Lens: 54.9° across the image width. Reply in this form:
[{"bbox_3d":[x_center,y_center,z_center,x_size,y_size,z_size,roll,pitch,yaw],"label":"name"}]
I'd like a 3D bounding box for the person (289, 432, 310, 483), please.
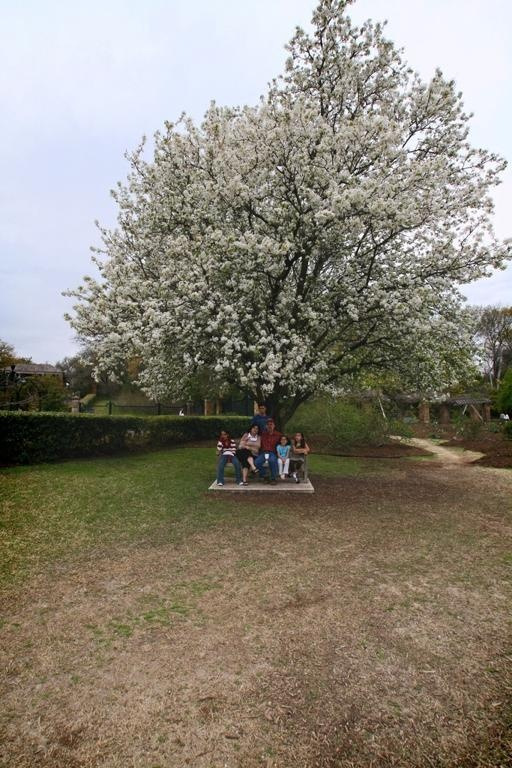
[{"bbox_3d":[0.971,1.695,11.547,0.432,1.135,1.478,-1,-3,4],"label":"person"}]

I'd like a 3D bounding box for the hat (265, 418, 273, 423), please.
[{"bbox_3d":[0.299,0.821,10.934,0.090,0.116,0.114,-1,-5,2],"label":"hat"}]

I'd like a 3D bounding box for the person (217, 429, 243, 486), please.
[{"bbox_3d":[-0.613,1.669,11.206,0.585,1.189,1.426,0,-3,-2],"label":"person"}]

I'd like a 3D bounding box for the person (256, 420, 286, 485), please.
[{"bbox_3d":[0.267,1.519,11.093,0.556,1.403,0.979,0,-3,1],"label":"person"}]
